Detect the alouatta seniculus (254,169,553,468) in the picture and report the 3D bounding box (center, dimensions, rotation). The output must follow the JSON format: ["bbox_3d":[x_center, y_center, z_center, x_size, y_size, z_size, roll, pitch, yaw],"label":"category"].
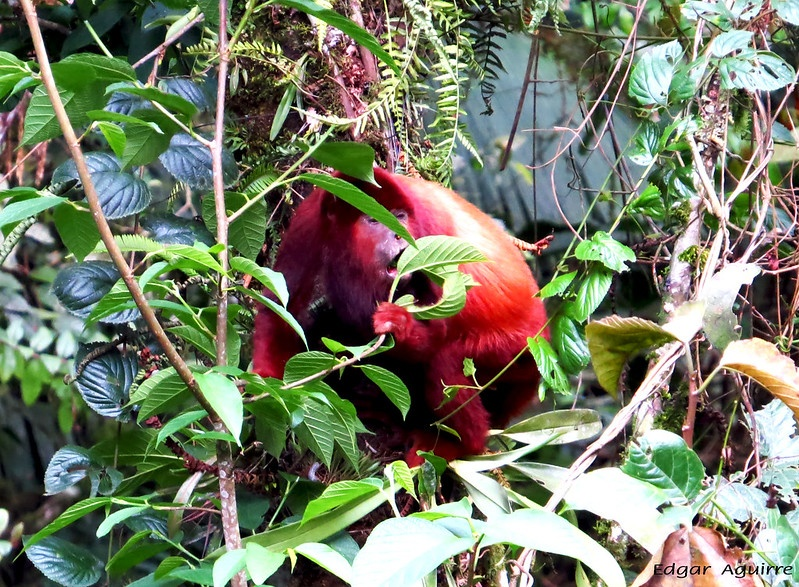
[{"bbox_3d":[-0.025,0.064,1.655,0.497,0.519,0.627,1,-3,38],"label":"alouatta seniculus"}]
